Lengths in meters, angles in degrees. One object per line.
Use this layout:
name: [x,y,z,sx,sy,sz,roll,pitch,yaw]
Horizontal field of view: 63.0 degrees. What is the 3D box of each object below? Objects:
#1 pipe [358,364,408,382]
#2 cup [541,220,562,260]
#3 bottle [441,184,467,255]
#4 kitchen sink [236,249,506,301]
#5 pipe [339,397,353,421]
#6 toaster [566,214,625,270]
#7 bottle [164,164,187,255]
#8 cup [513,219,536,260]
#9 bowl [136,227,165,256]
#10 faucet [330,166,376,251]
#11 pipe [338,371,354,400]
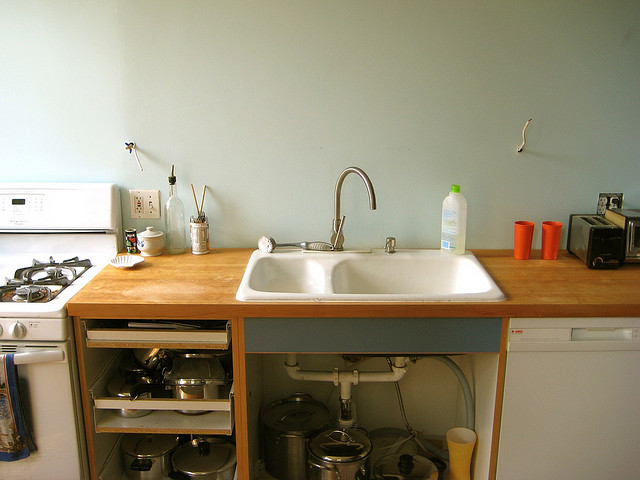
pipe: [0.280,0.602,2.374,0.210,0.087,0.065,-1,8,7]
cup: [1.055,0.009,2.390,0.072,0.163,0.058,-1,8,11]
bottle: [0.617,-0.094,2.413,0.118,0.311,0.131,0,8,15]
kitchen sink: [0.192,0.164,2.234,1.035,0.227,0.529,-2,7,-1]
pipe: [0.121,0.783,2.427,0.046,0.106,0.030,-2,8,4]
toaster: [1.262,0.003,2.389,0.201,0.231,0.252,-1,7,13]
bottle: [-0.695,-0.148,2.498,0.101,0.424,0.119,-5,8,-16]
cup: [0.938,0.005,2.425,0.124,0.160,0.125,0,9,0]
bowl: [-0.801,0.001,2.475,0.132,0.131,0.135,1,12,0]
faucet: [0.159,-0.145,2.396,0.170,0.389,0.342,-8,9,-36]
pipe: [0.122,0.665,2.389,0.071,0.145,0.053,-2,8,5]
